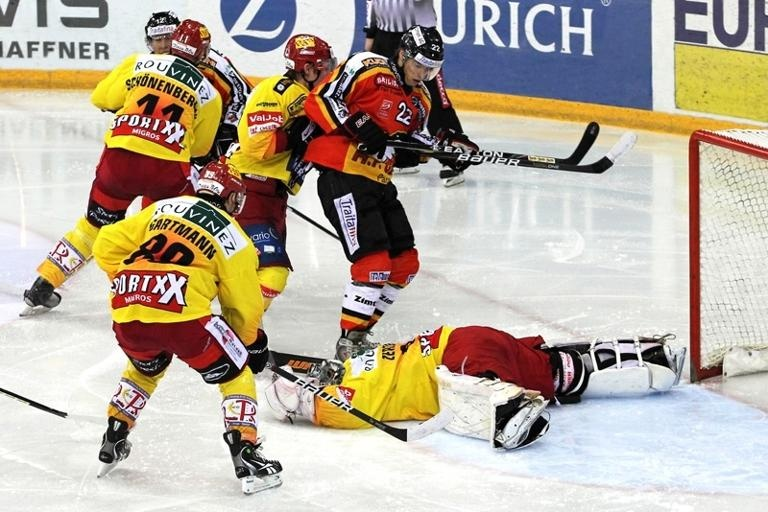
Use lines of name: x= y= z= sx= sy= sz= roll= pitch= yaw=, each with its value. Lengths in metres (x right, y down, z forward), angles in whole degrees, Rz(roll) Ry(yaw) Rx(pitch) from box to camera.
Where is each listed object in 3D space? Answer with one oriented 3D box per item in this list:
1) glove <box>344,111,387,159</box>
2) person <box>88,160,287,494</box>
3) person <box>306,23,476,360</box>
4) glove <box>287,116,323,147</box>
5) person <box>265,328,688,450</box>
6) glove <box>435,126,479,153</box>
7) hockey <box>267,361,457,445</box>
glove: x=-0.100 y=-0.637 z=4.465 sx=0.194 sy=0.246 sz=0.092 roll=-40 pitch=-2 yaw=-11
person: x=-0.841 y=0.345 z=3.546 sx=0.953 sy=1.193 sz=0.349 roll=6 pitch=4 yaw=-1
person: x=-0.120 y=-0.357 z=4.666 sx=0.735 sy=1.802 sz=0.510 roll=7 pitch=4 yaw=1
glove: x=-0.453 y=-0.698 z=4.693 sx=0.195 sy=0.166 sz=0.056 roll=19 pitch=28 yaw=-31
person: x=0.387 y=0.582 z=3.841 sx=1.351 sy=0.216 sz=0.811 roll=-1 pitch=7 yaw=-2
glove: x=0.425 y=-0.675 z=4.962 sx=0.256 sy=0.081 sz=0.130 roll=16 pitch=4 yaw=-24
hockey: x=-0.122 y=0.665 z=3.758 sx=0.903 sy=0.057 sz=0.288 roll=16 pitch=28 yaw=35
